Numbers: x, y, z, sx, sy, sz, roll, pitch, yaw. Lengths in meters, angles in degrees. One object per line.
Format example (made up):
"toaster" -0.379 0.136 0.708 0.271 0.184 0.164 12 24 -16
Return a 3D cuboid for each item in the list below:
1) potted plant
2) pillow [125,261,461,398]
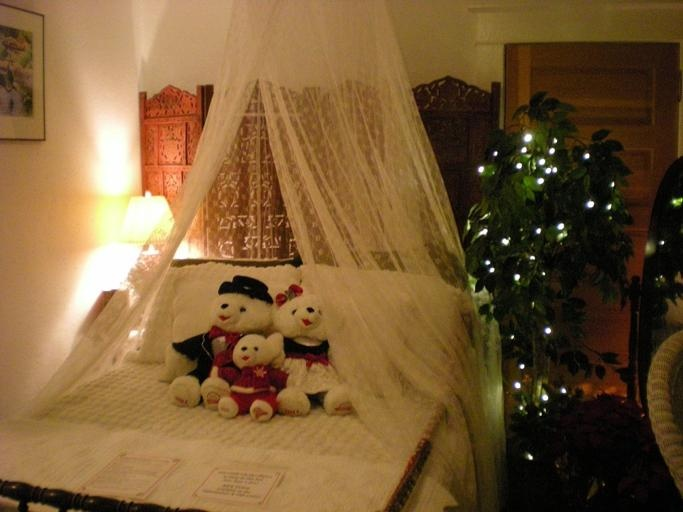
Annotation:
"potted plant" 1.057 0.095 2.811 0.731 1.181 1.009 7 5 37
"pillow" -0.481 0.280 2.859 0.961 0.330 0.817 2 11 -1
